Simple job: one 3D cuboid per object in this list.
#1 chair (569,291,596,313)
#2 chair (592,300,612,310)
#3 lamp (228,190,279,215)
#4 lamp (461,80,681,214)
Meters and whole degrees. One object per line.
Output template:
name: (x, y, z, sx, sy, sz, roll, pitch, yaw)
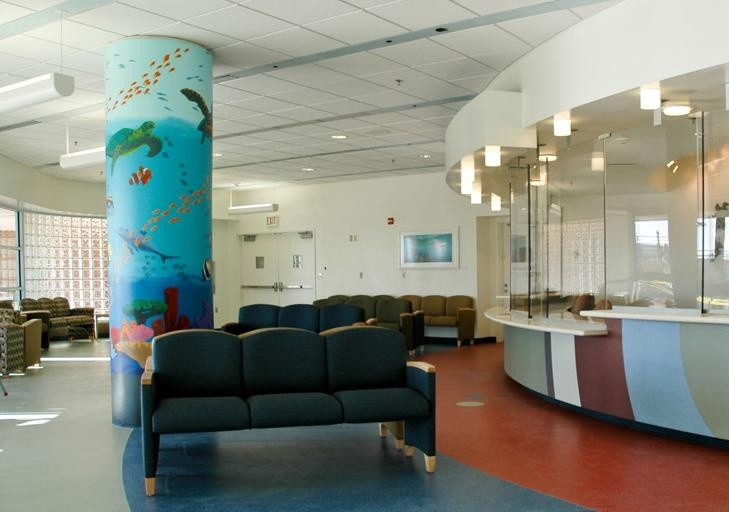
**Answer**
chair: (3.249, 0.699, 8.219, 0.297, 0.370, 0.324, 3, -3, -8)
chair: (3.366, 0.694, 7.735, 0.172, 0.105, 0.178, -1, -3, 3)
lamp: (-3.352, -1.653, 16.353, 1.378, 0.866, 3.574, -1, 1, -13)
lamp: (2.487, -1.778, 8.107, 1.841, 1.113, 4.289, -1, 1, -9)
